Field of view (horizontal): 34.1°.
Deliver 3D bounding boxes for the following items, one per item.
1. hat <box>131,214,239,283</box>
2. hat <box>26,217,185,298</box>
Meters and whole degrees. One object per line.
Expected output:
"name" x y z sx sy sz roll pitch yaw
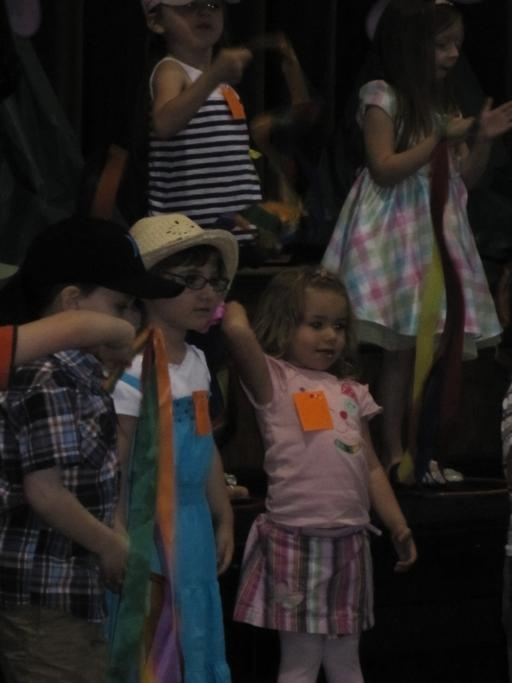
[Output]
"hat" -0.154 -0.212 1.753 0.158 0.068 0.180 11 -34 -45
"hat" -0.303 -0.160 1.663 0.340 0.171 0.220 0 2 -2
